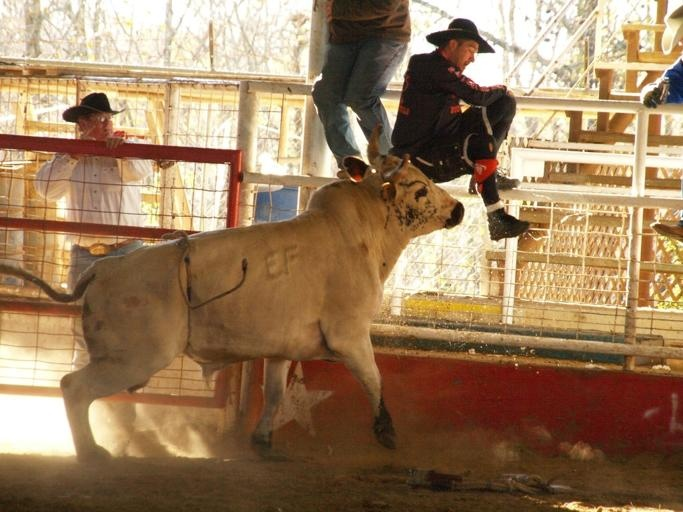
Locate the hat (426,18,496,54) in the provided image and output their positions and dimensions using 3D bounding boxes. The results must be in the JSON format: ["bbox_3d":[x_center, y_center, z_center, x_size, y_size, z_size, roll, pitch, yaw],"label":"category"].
[{"bbox_3d":[1.408,-2.562,17.092,0.587,0.208,0.470,12,-3,-22],"label":"hat"}]

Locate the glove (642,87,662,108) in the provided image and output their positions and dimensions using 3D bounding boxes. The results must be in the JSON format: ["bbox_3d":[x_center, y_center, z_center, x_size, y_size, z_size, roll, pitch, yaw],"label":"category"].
[{"bbox_3d":[3.674,-1.896,17.496,0.223,0.267,0.443,4,5,11],"label":"glove"}]

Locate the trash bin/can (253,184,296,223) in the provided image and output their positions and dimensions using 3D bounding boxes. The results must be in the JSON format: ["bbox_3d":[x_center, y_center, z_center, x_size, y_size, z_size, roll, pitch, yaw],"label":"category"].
[{"bbox_3d":[-0.797,-0.641,17.872,0.261,0.244,0.468,5,8,37],"label":"trash bin/can"}]
